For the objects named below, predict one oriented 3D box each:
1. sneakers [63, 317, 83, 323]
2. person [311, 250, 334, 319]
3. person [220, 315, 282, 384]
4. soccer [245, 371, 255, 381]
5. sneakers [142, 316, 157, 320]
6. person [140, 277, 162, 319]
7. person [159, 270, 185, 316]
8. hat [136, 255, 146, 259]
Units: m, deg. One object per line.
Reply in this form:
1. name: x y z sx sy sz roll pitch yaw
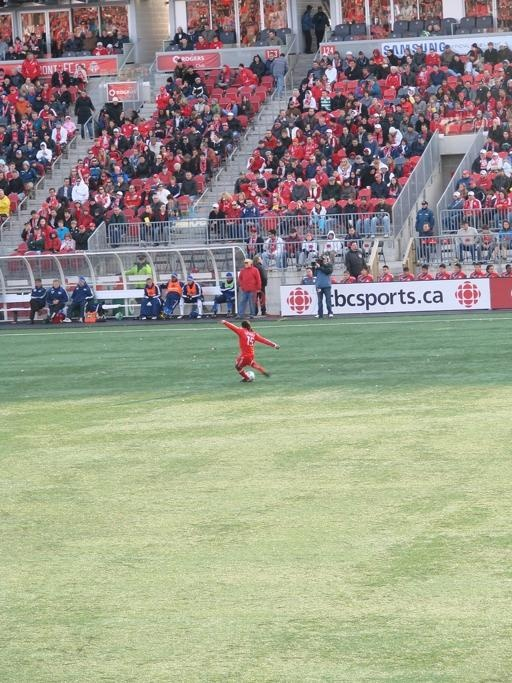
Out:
1. sneakers: -3.947 -0.479 37.420 0.401 0.181 0.141 -2 10 -2
2. person: 1.333 -1.116 33.553 0.344 1.172 0.437 -2 -2 -5
3. person: -0.060 0.138 23.209 0.977 0.956 0.216 10 -27 -38
4. soccer: -0.058 0.461 23.846 0.102 0.129 0.128 2 -37 -1
5. sneakers: -2.217 -0.543 36.425 0.286 0.130 0.107 -1 7 -8
6. person: -2.199 -0.910 36.309 0.470 0.869 0.408 -4 9 -4
7. person: -1.723 -0.965 36.349 0.478 0.958 0.832 -6 9 -15
8. hat: -2.416 -1.801 36.824 0.208 0.145 0.034 2 10 29
